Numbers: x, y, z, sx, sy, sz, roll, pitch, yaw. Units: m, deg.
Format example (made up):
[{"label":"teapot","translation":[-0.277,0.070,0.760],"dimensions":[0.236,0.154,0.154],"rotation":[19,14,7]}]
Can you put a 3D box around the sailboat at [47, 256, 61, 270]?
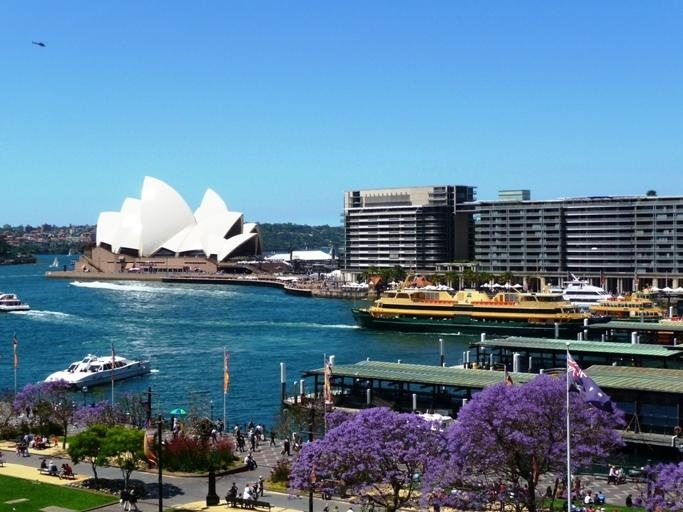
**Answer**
[{"label":"sailboat","translation":[-97.212,1.974,332.218],"dimensions":[4.263,4.264,4.142],"rotation":[2,-5,-3]}]

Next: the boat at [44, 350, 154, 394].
[{"label":"boat","translation":[-19.524,9.177,79.061],"dimensions":[4.745,2.404,8.867],"rotation":[-1,-4,17]}]

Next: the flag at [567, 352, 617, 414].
[{"label":"flag","translation":[13.834,6.948,54.193],"dimensions":[1.464,1.225,5.294],"rotation":[-34,21,1]}]

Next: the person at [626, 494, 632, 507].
[{"label":"person","translation":[14.251,12.072,48.839],"dimensions":[0.353,0.530,0.911],"rotation":[-1,-4,15]}]
